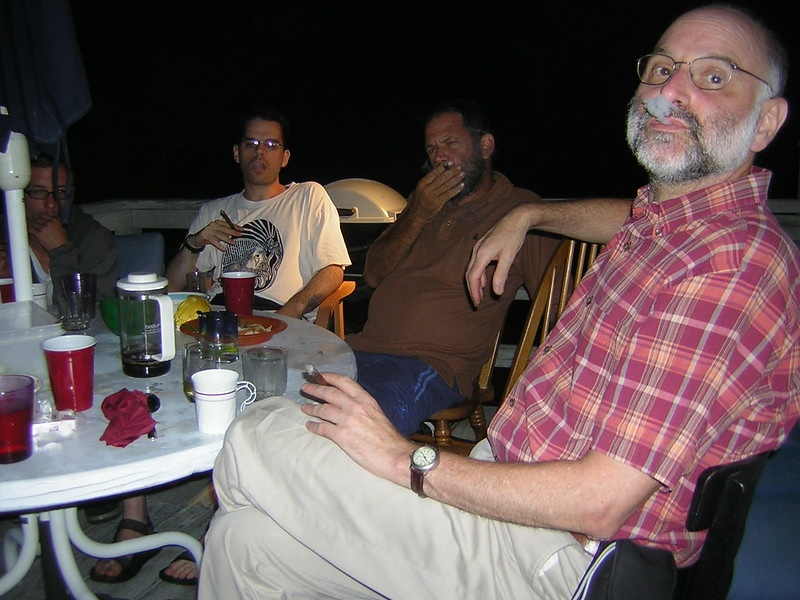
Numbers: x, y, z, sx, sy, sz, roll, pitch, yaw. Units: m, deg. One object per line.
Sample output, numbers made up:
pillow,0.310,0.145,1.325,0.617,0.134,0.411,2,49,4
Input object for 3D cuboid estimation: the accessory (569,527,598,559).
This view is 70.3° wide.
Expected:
accessory,0.379,0.494,1.175,0.040,0.049,0.054,32,7,-23

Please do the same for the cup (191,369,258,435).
cup,-0.406,0.226,1.265,0.152,0.136,0.100,3,5,-22

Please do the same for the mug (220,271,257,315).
mug,-0.554,-0.024,2.053,0.152,0.174,0.155,-3,5,-21

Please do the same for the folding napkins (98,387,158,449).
folding napkins,-0.578,0.247,1.197,0.101,0.085,0.116,-3,11,-34

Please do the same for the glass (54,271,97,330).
glass,-1.054,0.012,1.871,0.146,0.180,0.114,3,-8,-43

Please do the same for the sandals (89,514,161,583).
sandals,-0.880,0.837,1.955,0.134,0.136,0.324,0,-8,17

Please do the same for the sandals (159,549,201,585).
sandals,-0.709,0.880,1.845,0.094,0.066,0.238,3,-6,-7

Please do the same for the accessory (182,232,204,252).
accessory,-0.995,-0.276,2.740,0.086,0.046,0.110,6,-2,-22

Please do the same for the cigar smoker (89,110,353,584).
cigar smoker,-0.835,0.111,2.642,0.826,2.053,1.280,0,3,26

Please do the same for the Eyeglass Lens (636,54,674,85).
Eyeglass Lens,0.615,-0.553,1.368,0.093,0.045,0.089,4,22,-9

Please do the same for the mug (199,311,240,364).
mug,-0.498,0.114,1.588,0.090,0.139,0.143,-3,-5,-15

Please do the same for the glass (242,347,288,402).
glass,-0.338,0.200,1.436,0.118,0.112,0.092,3,0,2

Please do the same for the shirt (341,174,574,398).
shirt,0.224,-0.112,2.662,0.856,1.166,0.818,15,1,-41
